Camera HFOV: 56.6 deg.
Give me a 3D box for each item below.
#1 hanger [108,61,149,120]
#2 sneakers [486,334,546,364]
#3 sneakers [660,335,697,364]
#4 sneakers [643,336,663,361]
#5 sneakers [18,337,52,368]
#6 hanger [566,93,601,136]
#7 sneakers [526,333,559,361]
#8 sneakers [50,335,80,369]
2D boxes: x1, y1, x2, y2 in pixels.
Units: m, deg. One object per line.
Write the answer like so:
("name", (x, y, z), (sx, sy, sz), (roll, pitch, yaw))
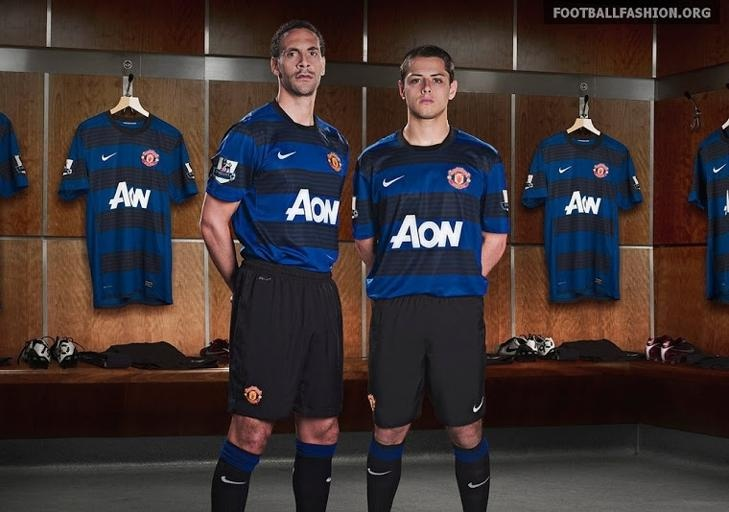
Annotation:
("hanger", (-1.845, -1.277, 5.222), (0.469, 0.495, 0.130), (-1, -13, -8))
("sneakers", (1.186, 0.726, 5.212), (0.316, 0.110, 0.243), (-3, 1, 5))
("sneakers", (2.425, 0.725, 5.206), (0.221, 0.166, 0.336), (2, 3, 40))
("sneakers", (2.256, 0.723, 5.261), (0.121, 0.166, 0.205), (1, 2, 23))
("sneakers", (-2.365, 0.690, 4.850), (0.139, 0.158, 0.367), (3, -5, -25))
("hanger", (1.825, -1.171, 5.619), (0.276, 0.359, 0.255), (1, 1, 15))
("sneakers", (1.384, 0.708, 5.303), (0.336, 0.141, 0.117), (18, -17, -32))
("sneakers", (-2.190, 0.678, 4.889), (0.147, 0.181, 0.428), (0, 2, -39))
